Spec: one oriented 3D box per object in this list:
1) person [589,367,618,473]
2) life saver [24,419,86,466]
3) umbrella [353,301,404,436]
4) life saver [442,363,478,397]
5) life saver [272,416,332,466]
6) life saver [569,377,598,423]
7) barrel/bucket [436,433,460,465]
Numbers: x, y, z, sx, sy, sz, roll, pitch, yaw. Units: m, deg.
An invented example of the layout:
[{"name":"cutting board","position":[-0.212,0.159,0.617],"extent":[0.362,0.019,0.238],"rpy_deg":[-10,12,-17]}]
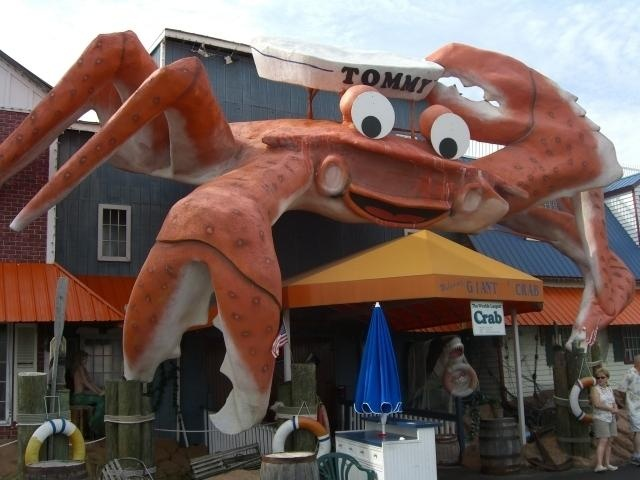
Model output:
[{"name":"person","position":[6.038,3.861,15.620],"extent":[0.539,2.142,0.512],"rpy_deg":[-5,-15,18]},{"name":"life saver","position":[-4.671,3.505,12.743],"extent":[0.915,0.979,0.235],"rpy_deg":[-36,21,-33]},{"name":"umbrella","position":[1.082,2.323,13.699],"extent":[0.872,2.458,0.755],"rpy_deg":[3,1,-20]},{"name":"life saver","position":[3.694,3.712,19.304],"extent":[0.803,0.887,0.569],"rpy_deg":[7,-16,-29]},{"name":"life saver","position":[-0.377,3.625,13.529],"extent":[0.797,0.848,0.701],"rpy_deg":[2,0,-17]},{"name":"life saver","position":[5.826,3.620,16.353],"extent":[0.673,0.860,0.228],"rpy_deg":[-13,10,-32]},{"name":"barrel/bucket","position":[2.808,4.704,16.347],"extent":[0.517,0.605,0.575],"rpy_deg":[1,-16,-1]}]
